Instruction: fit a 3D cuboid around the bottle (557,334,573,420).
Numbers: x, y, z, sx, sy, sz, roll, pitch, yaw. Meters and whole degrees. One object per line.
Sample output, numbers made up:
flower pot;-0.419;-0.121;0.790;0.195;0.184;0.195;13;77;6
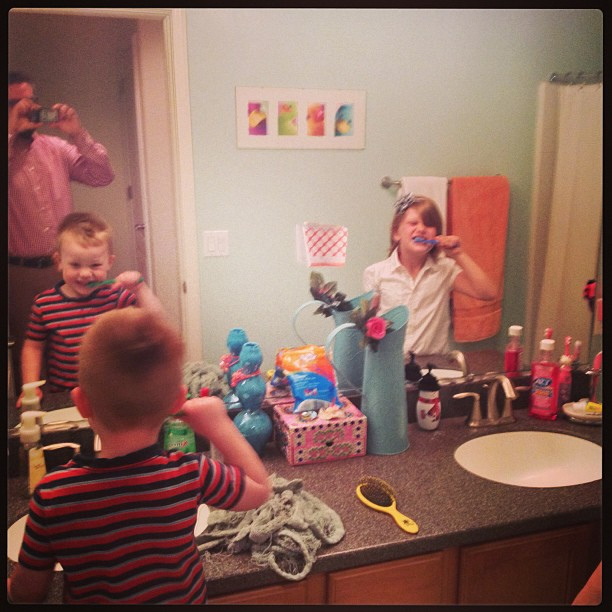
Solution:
bottle;0.720;0.194;1.560;0.036;0.224;0.095;2;12;27

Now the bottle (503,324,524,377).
bottle;0.573;0.125;1.537;0.064;0.155;0.028;-8;12;-22

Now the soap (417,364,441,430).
soap;0.316;0.252;1.451;0.051;0.138;0.038;-11;13;-37

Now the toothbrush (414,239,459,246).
toothbrush;0.326;-0.163;1.427;0.094;0.009;0.010;6;5;-5

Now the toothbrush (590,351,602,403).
toothbrush;0.823;0.200;1.595;0.021;0.143;0.031;3;12;29

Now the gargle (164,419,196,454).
gargle;-0.282;0.292;1.255;0.072;0.094;0.034;-7;11;-20

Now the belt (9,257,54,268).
belt;-0.592;-0.096;1.213;0.092;0.024;0.006;-4;11;-3

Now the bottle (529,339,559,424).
bottle;0.650;0.205;1.538;0.070;0.226;0.049;1;12;23

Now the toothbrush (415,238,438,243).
toothbrush;0.304;-0.166;1.422;0.058;0.014;0.003;-5;11;-13

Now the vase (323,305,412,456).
vase;0.135;0.163;1.357;0.229;0.364;0.224;1;4;-40

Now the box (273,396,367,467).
box;0.032;0.294;1.334;0.216;0.127;0.108;-6;11;-15
